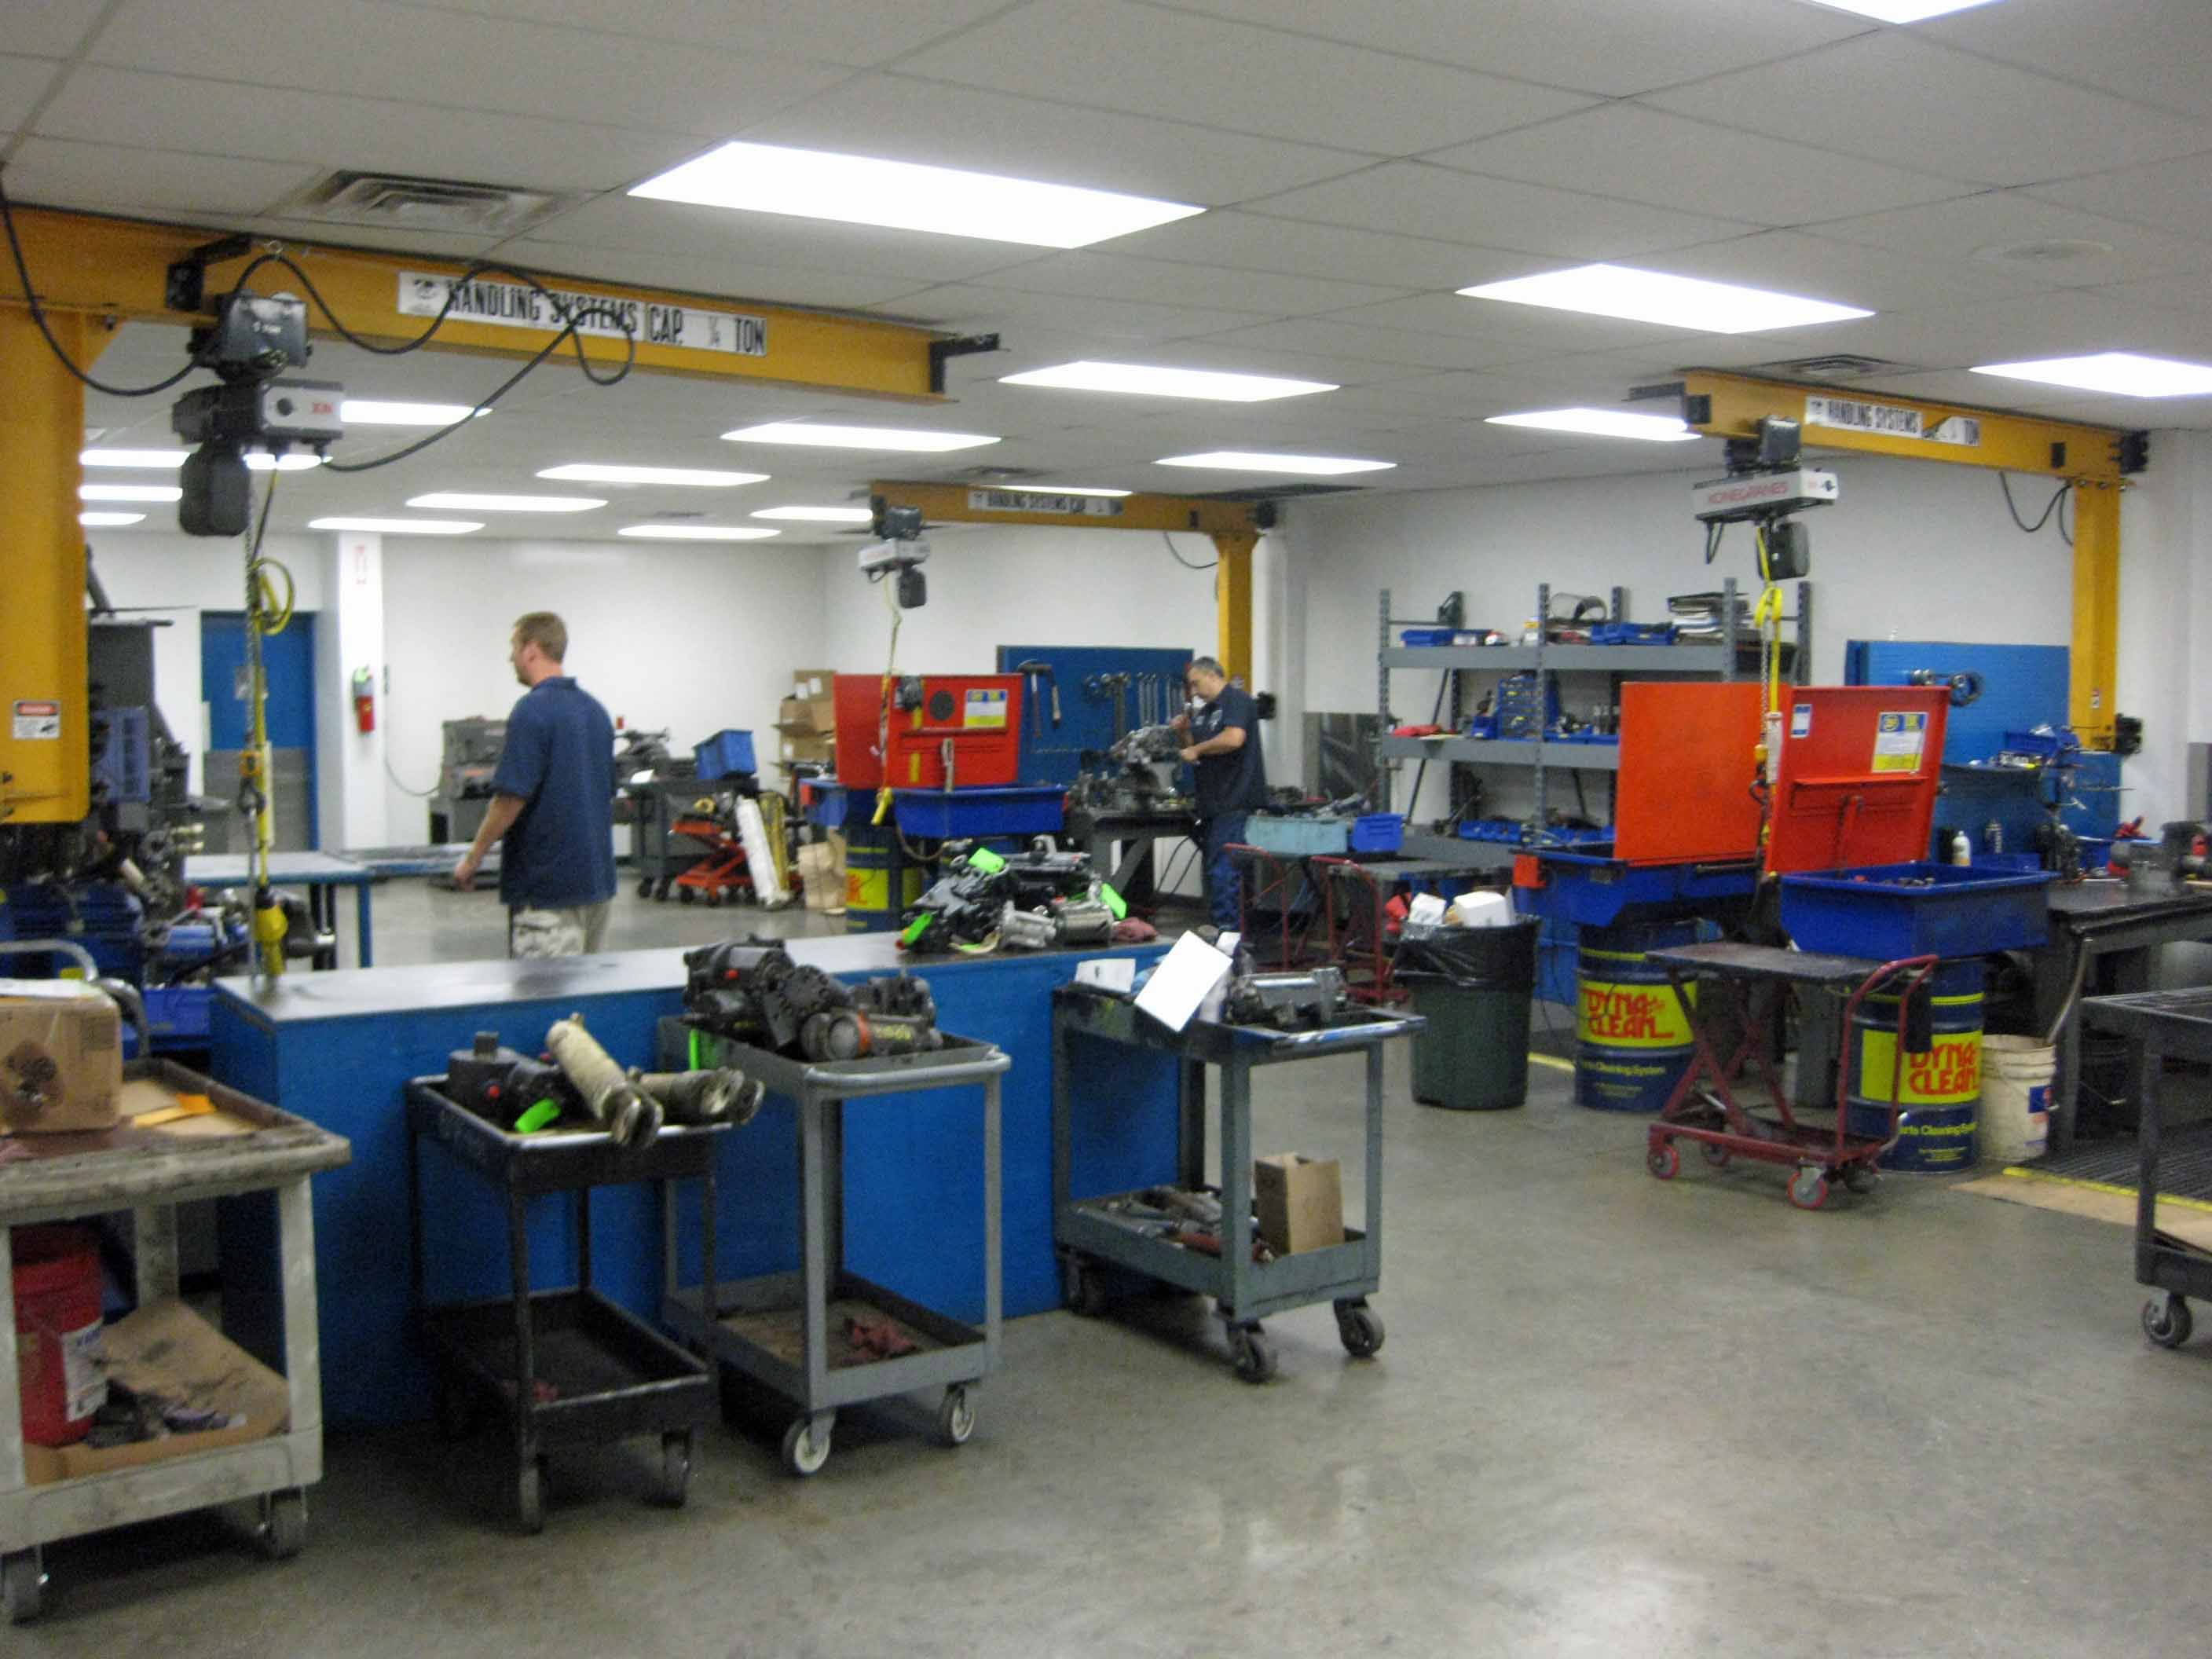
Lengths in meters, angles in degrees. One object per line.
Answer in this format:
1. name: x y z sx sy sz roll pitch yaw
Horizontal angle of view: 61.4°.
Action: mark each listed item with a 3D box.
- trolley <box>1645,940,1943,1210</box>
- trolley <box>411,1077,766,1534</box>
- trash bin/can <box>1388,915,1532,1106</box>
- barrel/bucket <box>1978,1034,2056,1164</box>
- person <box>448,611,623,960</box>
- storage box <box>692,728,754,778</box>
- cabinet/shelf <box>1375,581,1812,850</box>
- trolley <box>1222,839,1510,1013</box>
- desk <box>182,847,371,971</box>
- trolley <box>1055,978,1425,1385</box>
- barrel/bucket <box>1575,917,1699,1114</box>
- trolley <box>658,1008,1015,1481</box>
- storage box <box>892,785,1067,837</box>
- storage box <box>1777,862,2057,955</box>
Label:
1. trolley: 2.476 0.871 6.892 0.913 0.806 0.550 13 -1 37
2. trolley: -1.264 1.044 4.493 0.698 0.970 1.110 -2 7 -33
3. trash bin/can: 1.531 0.766 7.875 0.593 0.710 0.539 4 -4 -42
4. barrel/bucket: 3.445 1.007 7.074 0.305 0.416 0.297 0 3 0
5. person: -1.810 -0.120 5.933 0.479 1.089 0.599 -3 11 -19
6. storage box: -2.628 -0.563 13.120 0.381 0.247 0.380 -8 -5 35
7. cabinet/shelf: 2.484 -0.583 9.355 0.548 1.226 1.699 -1 3 -32
8. trolley: 1.400 0.370 9.948 0.896 0.949 1.370 -1 3 -30
9. desk: -2.956 0.275 6.611 0.633 0.539 0.613 -1 2 -30
10. trolley: 0.508 0.916 5.503 0.770 1.090 1.245 -2 3 -35
11. barrel/bucket: 2.294 0.770 7.864 0.554 0.797 0.535 1 -1 0
12. trolley: -0.628 1.038 5.052 0.740 1.134 1.191 0 4 -37
13. storage box: -0.668 -0.104 10.619 1.024 0.316 0.413 -3 10 -19
14. storage box: 3.026 0.323 6.808 0.968 0.299 0.445 1 10 2
